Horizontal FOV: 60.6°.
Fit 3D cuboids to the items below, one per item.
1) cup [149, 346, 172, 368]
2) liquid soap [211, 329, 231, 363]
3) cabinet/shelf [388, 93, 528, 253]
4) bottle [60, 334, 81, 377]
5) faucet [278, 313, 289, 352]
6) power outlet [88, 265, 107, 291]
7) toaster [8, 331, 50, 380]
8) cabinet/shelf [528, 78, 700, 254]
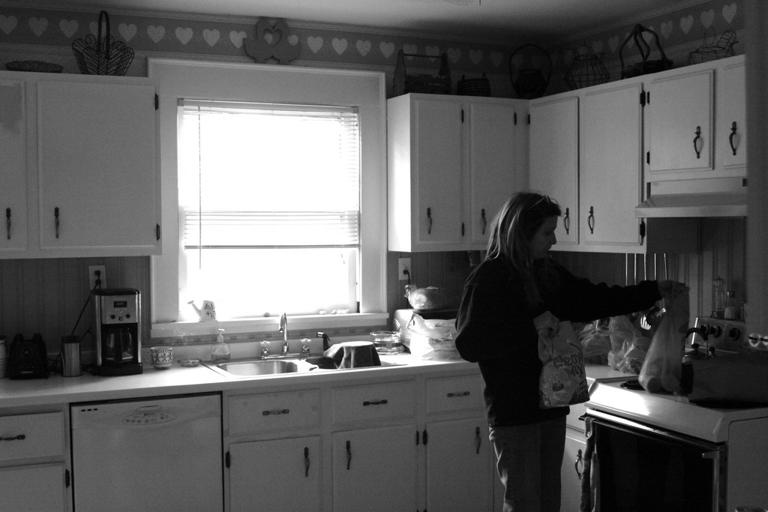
[{"bbox_3d":[-1.410,0.639,4.158,0.120,0.105,0.131,-1,-8,0],"label":"cup"},{"bbox_3d":[-1.082,0.587,4.402,0.102,0.203,0.141,5,11,28],"label":"liquid soap"},{"bbox_3d":[0.479,-0.567,4.455,1.098,1.261,0.438,1,2,-13],"label":"cabinet/shelf"},{"bbox_3d":[-1.894,0.594,3.969,0.108,0.227,0.182,-4,11,-26],"label":"bottle"},{"bbox_3d":[-0.691,0.518,4.504,0.069,0.287,0.163,-1,10,-10],"label":"faucet"},{"bbox_3d":[-1.841,0.128,4.223,0.108,0.145,0.041,-3,10,-19],"label":"power outlet"},{"bbox_3d":[-2.091,0.610,4.009,0.269,0.274,0.211,3,-2,-8],"label":"toaster"},{"bbox_3d":[1.454,-0.537,4.061,0.399,1.101,1.148,2,-3,-33],"label":"cabinet/shelf"}]
